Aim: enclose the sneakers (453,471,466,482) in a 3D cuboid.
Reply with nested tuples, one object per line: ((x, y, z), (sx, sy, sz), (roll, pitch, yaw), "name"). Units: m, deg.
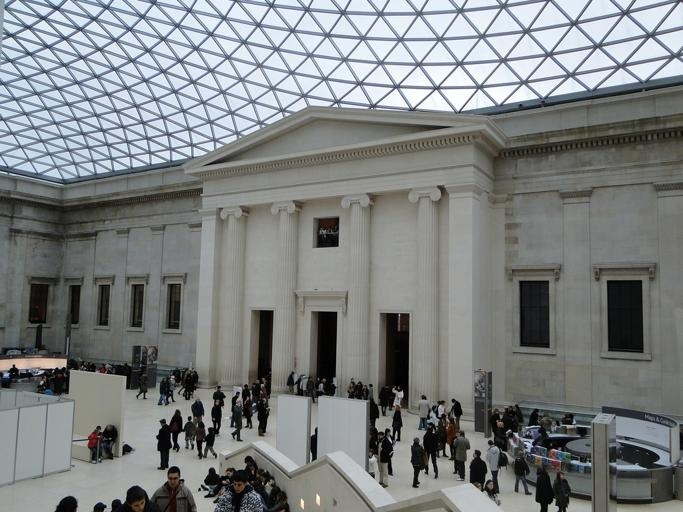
((3.854, 7.284, 19.481), (0.413, 0.303, 0.157), (3, -2, 44), "sneakers")

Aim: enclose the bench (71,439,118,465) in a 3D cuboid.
((-9.104, 6.984, 21.135), (0.979, 0.280, 0.923), (4, 1, 31), "bench")

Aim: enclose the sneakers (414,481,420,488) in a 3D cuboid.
((2.414, 7.312, 18.817), (0.177, 0.149, 0.344), (-5, -11, 35), "sneakers")

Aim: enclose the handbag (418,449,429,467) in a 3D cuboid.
((2.623, 6.551, 19.161), (0.253, 0.714, 0.675), (-5, -12, 13), "handbag")
